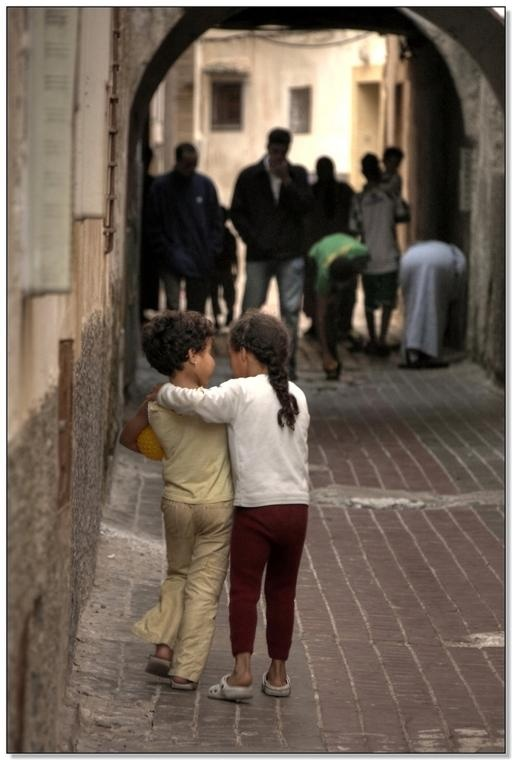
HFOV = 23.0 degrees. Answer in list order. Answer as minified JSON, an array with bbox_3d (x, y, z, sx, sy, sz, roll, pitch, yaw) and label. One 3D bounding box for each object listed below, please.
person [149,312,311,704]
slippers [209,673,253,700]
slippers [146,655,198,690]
[{"bbox_3d":[-0.064,0.387,3.870,0.430,1.192,0.290,3,8,-2],"label":"person"},{"bbox_3d":[-0.083,0.920,3.894,0.126,0.065,0.065,4,2,23],"label":"slippers"},{"bbox_3d":[-0.297,0.895,3.940,0.210,0.103,0.071,19,-12,-36],"label":"slippers"}]
